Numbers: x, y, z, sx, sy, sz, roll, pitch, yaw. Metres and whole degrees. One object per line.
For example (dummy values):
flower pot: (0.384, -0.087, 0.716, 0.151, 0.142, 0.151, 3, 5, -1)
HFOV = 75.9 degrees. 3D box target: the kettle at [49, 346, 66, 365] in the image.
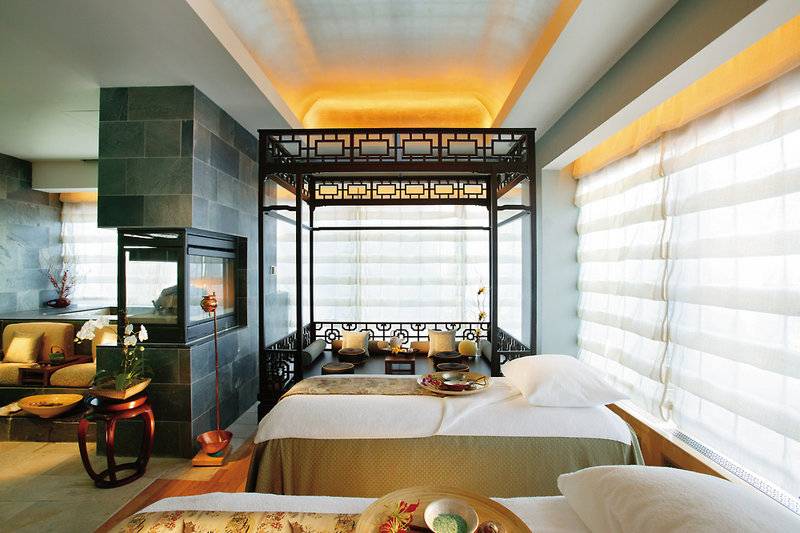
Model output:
kettle: (-3.789, 1.009, 5.717, 0.162, 0.198, 0.208, -1, -10, -13)

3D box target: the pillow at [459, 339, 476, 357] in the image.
pillow: (0.757, 0.933, 5.897, 0.181, 0.208, 0.179, 0, -1, -14)

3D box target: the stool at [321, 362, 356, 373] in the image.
stool: (-0.626, 1.043, 5.195, 0.285, 0.095, 0.221, -1, -3, -20)

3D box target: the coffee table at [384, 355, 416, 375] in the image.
coffee table: (0.007, 1.072, 5.550, 0.223, 0.165, 0.212, 0, -4, 6)

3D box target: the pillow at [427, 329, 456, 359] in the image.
pillow: (0.487, 0.914, 5.961, 0.291, 0.269, 0.097, 0, -19, 1)

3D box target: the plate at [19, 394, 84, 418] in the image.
plate: (-3.228, 1.303, 4.829, 0.733, 0.119, 0.501, -4, -4, 36)

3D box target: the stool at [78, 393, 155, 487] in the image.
stool: (-2.599, 1.579, 4.764, 0.597, 0.792, 0.619, -1, -3, -26)

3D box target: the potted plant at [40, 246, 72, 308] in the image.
potted plant: (-4.771, 0.145, 7.145, 0.244, 0.872, 0.379, -2, -3, 3)
